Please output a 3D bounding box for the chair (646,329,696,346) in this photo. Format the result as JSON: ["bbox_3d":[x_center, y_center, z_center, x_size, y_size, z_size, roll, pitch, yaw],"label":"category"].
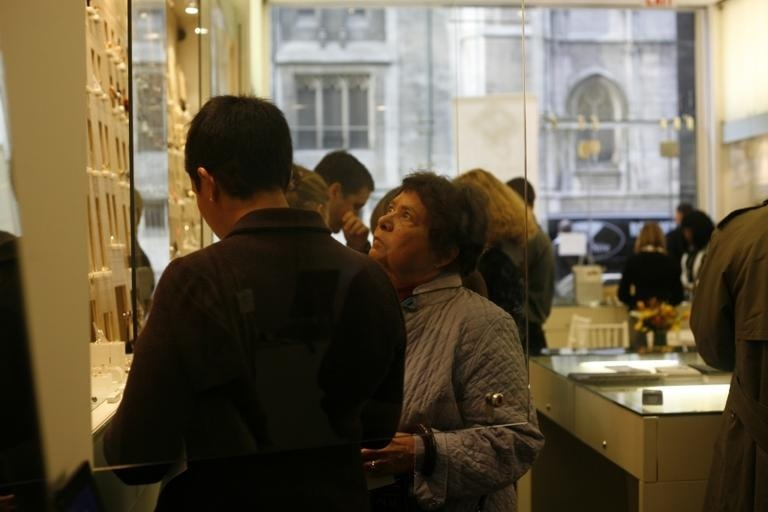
[{"bbox_3d":[1.604,0.448,4.561,0.184,0.112,0.106,-3,2,-7],"label":"chair"}]

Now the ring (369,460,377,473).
[{"bbox_3d":[-0.027,0.527,2.072,0.007,0.023,0.021,5,2,-19],"label":"ring"}]

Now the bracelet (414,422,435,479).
[{"bbox_3d":[0.114,0.502,2.098,0.040,0.114,0.077,1,-2,4],"label":"bracelet"}]

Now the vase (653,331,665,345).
[{"bbox_3d":[1.550,0.454,4.617,0.064,0.081,0.050,-2,2,18],"label":"vase"}]

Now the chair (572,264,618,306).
[{"bbox_3d":[1.381,0.190,5.350,0.288,0.248,0.212,-2,2,14],"label":"chair"}]

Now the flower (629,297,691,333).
[{"bbox_3d":[1.589,0.340,4.670,0.236,0.192,0.253,-1,0,1],"label":"flower"}]
